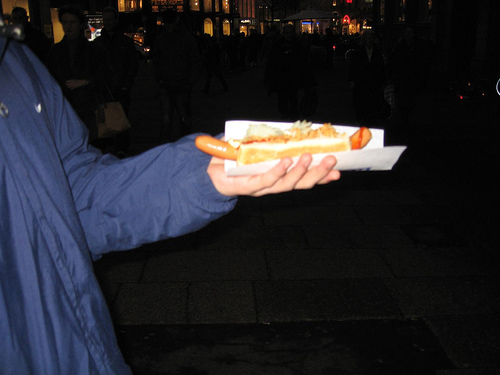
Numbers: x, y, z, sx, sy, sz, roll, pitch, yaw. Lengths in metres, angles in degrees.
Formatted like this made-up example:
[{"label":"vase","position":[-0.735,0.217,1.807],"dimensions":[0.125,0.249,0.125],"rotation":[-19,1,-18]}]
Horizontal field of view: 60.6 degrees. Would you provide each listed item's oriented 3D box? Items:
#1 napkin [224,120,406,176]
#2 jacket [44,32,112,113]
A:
[{"label":"napkin","position":[0.145,-0.087,1.094],"dimensions":[0.420,0.116,0.193],"rotation":[0,0,-3]},{"label":"jacket","position":[-2.251,-1.535,5.612],"dimensions":[0.949,1.227,0.327],"rotation":[-6,61,-17]}]
